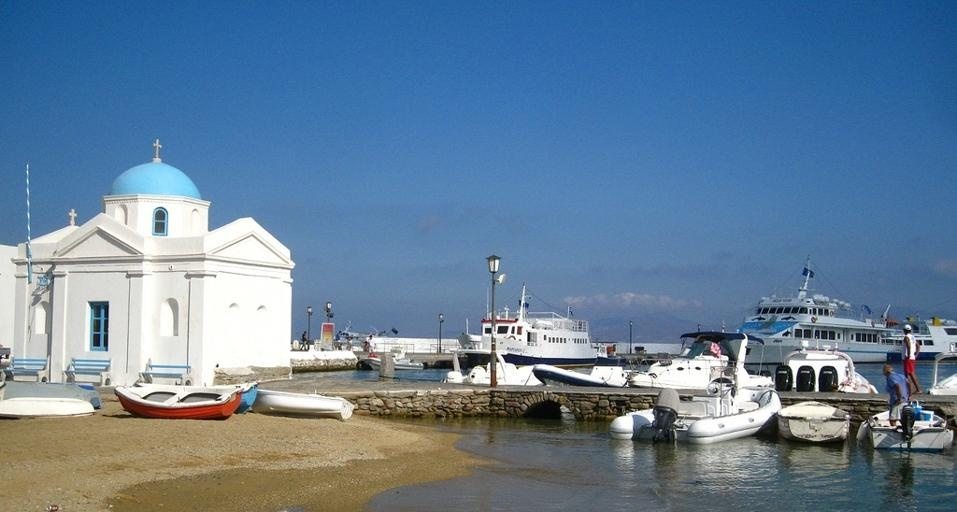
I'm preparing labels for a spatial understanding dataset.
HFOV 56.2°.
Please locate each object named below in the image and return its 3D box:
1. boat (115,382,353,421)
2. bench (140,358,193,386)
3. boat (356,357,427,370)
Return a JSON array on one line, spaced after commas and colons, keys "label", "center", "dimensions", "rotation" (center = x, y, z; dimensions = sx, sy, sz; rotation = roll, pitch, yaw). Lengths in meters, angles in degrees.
[{"label": "boat", "center": [-11.439, 6.816, 41.143], "dimensions": [9.622, 1.875, 2.304], "rotation": [0, 8, -19]}, {"label": "bench", "center": [-16.185, 6.096, 46.368], "dimensions": [2.688, 1.043, 1.154], "rotation": [4, 8, 11]}, {"label": "boat", "center": [-7.846, 9.820, 80.276], "dimensions": [2.112, 1.027, 6.465], "rotation": [2, 0, 31]}]
